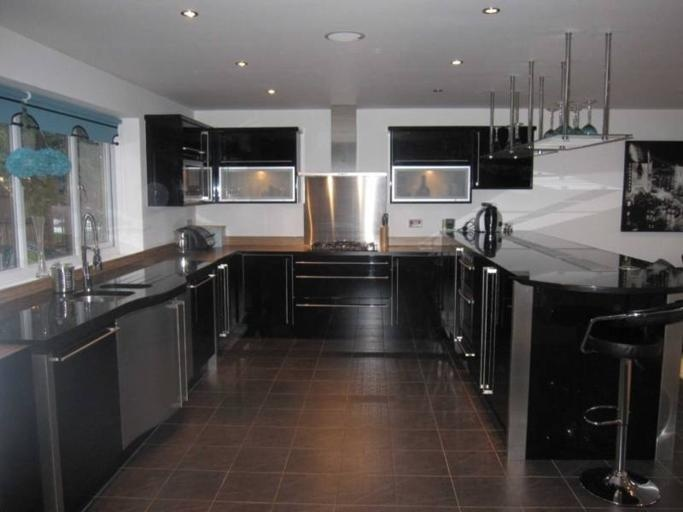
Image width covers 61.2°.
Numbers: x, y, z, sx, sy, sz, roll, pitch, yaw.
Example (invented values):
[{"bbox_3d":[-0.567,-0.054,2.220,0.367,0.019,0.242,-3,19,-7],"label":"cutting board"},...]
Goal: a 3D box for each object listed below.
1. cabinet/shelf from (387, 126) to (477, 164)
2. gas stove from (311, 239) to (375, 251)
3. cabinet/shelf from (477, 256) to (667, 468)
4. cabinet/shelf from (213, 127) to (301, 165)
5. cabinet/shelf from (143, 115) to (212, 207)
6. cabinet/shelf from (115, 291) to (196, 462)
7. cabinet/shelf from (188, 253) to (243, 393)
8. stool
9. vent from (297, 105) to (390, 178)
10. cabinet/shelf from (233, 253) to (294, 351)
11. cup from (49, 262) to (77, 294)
[{"bbox_3d":[0.995,-1.181,6.207,0.940,0.386,0.181,2,13,9],"label":"cabinet/shelf"},{"bbox_3d":[0.018,-0.104,6.367,0.683,0.037,0.626,1,13,5],"label":"gas stove"},{"bbox_3d":[1.736,0.644,4.443,1.124,1.609,1.265,1,4,4],"label":"cabinet/shelf"},{"bbox_3d":[-0.944,-1.175,6.242,0.913,0.399,0.105,0,13,-1],"label":"cabinet/shelf"},{"bbox_3d":[-1.617,-0.916,5.604,0.305,0.771,0.925,-1,8,-3],"label":"cabinet/shelf"},{"bbox_3d":[-1.318,0.751,4.060,0.680,0.945,1.007,-1,9,-5],"label":"cabinet/shelf"},{"bbox_3d":[-1.149,0.618,5.180,0.213,0.516,1.085,0,10,-1],"label":"cabinet/shelf"},{"bbox_3d":[1.721,0.824,3.512,0.506,1.188,0.585,7,15,27],"label":"stool"},{"bbox_3d":[0.050,-1.280,6.407,0.995,0.718,0.570,-1,13,-4],"label":"vent"},{"bbox_3d":[-0.771,0.396,6.643,0.784,1.187,0.783,-1,3,-2],"label":"cabinet/shelf"},{"bbox_3d":[-1.909,0.161,4.048,0.215,0.211,0.157,-1,11,-20],"label":"cup"}]
